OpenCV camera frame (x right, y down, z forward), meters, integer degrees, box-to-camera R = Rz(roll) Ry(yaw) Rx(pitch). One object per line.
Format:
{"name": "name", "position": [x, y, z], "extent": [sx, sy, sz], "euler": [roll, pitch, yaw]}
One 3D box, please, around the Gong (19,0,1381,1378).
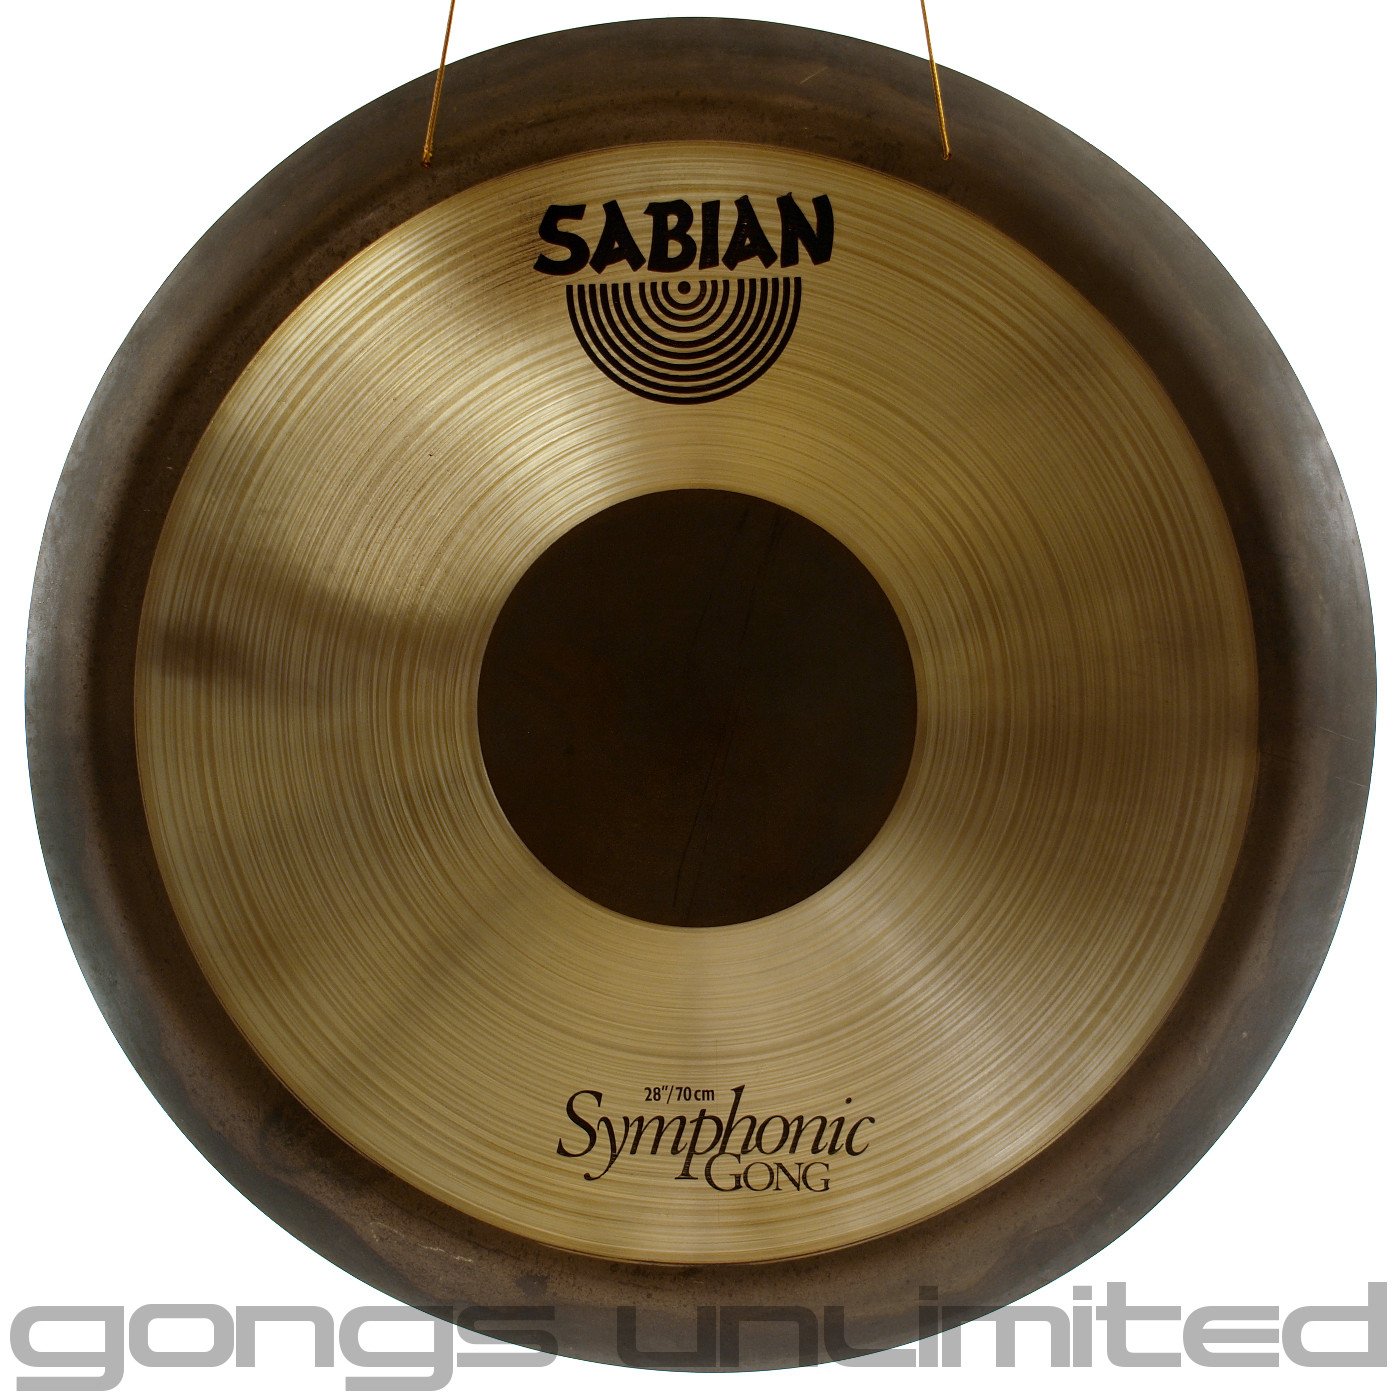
{"name": "Gong", "position": [-0.010, -0.006, 1.812], "extent": [1.360, 0.274, 1.349], "euler": [-11, 79, -3]}
